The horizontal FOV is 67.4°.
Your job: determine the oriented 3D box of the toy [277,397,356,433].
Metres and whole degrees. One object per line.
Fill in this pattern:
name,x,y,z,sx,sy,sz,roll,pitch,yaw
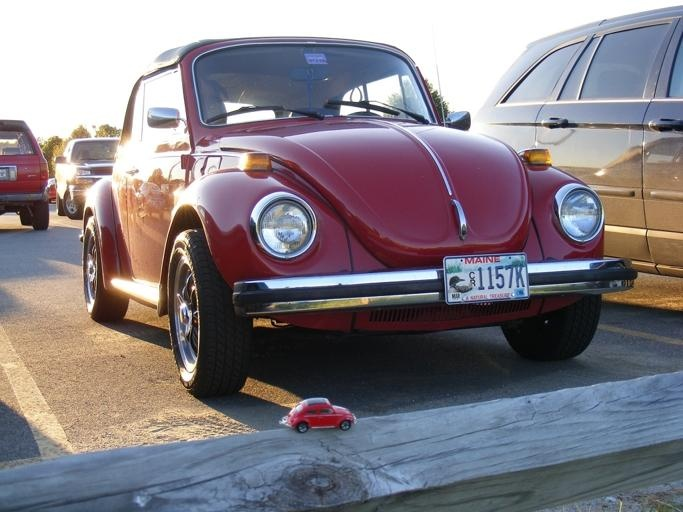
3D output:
toy,-0.086,0.548,1.738,0.274,0.076,0.171,4,3,15
